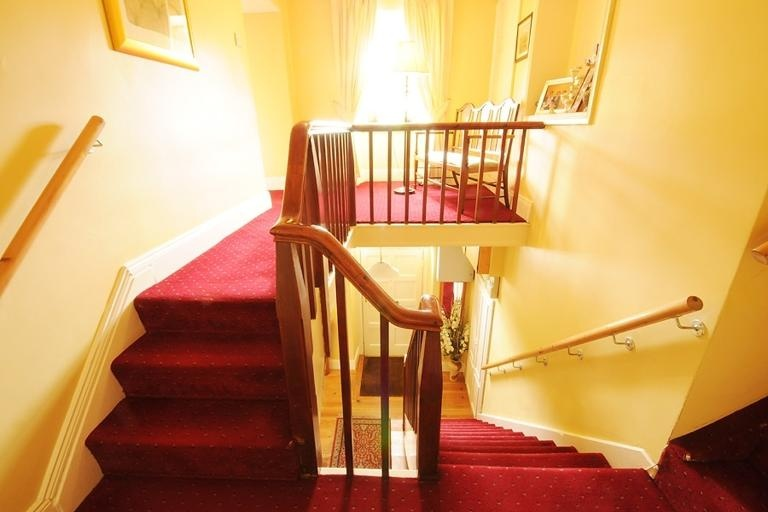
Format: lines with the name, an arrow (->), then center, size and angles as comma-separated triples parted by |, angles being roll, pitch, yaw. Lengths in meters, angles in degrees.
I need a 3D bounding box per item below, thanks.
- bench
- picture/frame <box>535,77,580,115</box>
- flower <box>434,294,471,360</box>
bench -> 0.870, -1.155, 5.689 | 1.000, 1.183, 2.432 | 3, 23, 4
picture/frame -> 1.559, -1.435, 4.654 | 0.037, 0.400, 0.473 | 15, 21, -15
flower -> 1.025, 1.047, 7.446 | 0.382, 0.809, 0.603 | 4, 23, 6
